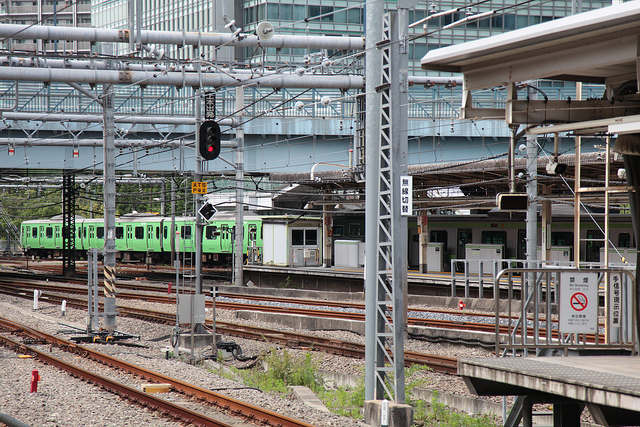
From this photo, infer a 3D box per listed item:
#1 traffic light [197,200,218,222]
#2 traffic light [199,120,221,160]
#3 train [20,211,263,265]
[{"bbox_3d":[-3.782,-0.101,35.505,0.582,0.605,0.146,48,-16,-21],"label":"traffic light"},{"bbox_3d":[-3.736,-2.478,35.751,0.665,1.311,0.359,1,-2,-8],"label":"traffic light"},{"bbox_3d":[-11.100,1.615,67.140,16.418,2.547,2.131,0,-7,8],"label":"train"}]
